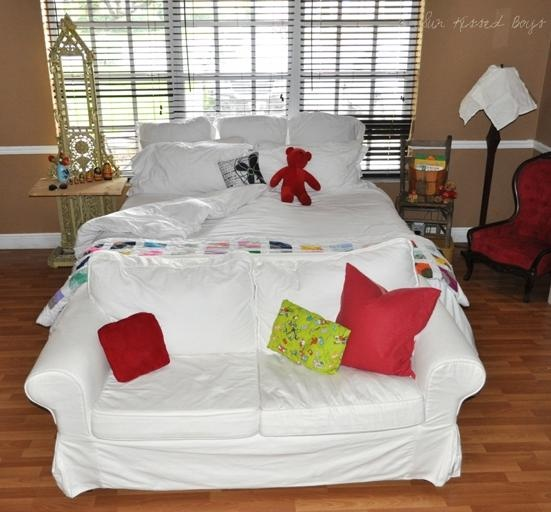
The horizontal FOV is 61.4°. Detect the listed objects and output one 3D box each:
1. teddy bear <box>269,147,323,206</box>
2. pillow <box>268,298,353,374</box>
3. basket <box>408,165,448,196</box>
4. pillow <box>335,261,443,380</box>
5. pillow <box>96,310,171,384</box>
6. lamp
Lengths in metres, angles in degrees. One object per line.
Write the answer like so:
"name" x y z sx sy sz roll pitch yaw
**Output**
"teddy bear" 0.166 -0.623 3.582 0.418 0.430 0.289 6 24 -9
"pillow" 0.156 0.357 2.089 0.421 0.234 0.123 16 0 42
"basket" 1.274 -0.648 3.970 0.293 0.199 0.275 14 24 35
"pillow" 0.476 0.297 2.012 0.452 0.375 0.237 13 18 26
"pillow" -0.634 0.386 2.020 0.078 0.262 0.286 -28 -9 41
"lamp" 1.849 -0.919 4.006 0.457 1.354 0.552 -13 29 -23
